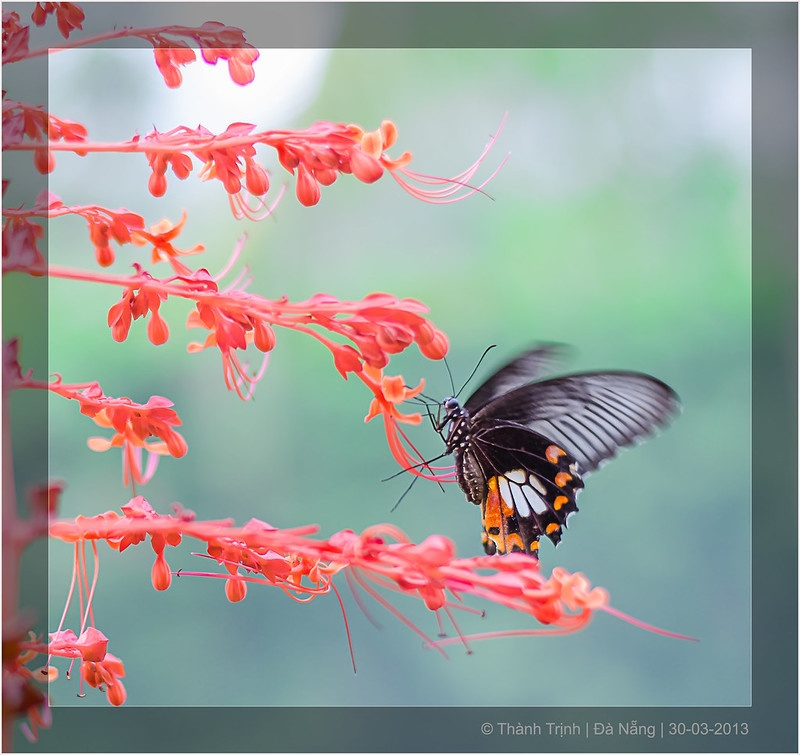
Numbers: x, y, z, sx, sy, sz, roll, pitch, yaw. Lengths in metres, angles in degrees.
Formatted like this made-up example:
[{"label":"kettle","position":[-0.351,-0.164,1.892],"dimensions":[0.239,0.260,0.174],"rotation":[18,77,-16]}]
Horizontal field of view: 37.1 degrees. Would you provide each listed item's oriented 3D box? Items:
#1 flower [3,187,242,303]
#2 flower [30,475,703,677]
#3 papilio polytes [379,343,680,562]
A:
[{"label":"flower","position":[-0.439,-0.202,1.814],"dimensions":[0.291,0.115,0.105],"rotation":[18,-13,2]},{"label":"flower","position":[-0.053,0.314,1.817],"dimensions":[0.927,0.338,0.259],"rotation":[10,0,8]},{"label":"papilio polytes","position":[0.250,0.080,1.983],"dimensions":[0.324,0.386,0.374],"rotation":[9,-1,4]}]
